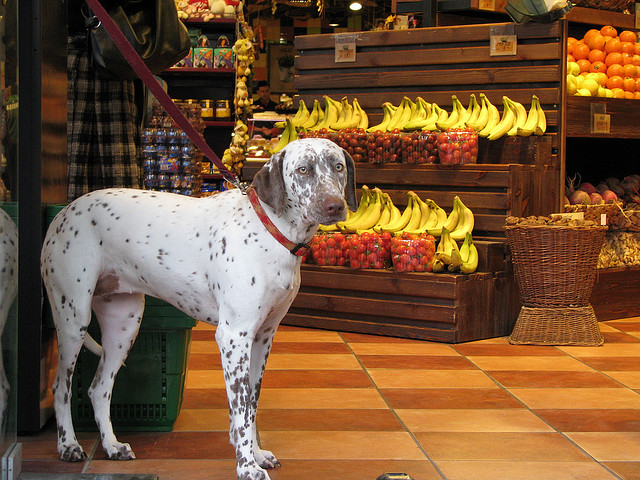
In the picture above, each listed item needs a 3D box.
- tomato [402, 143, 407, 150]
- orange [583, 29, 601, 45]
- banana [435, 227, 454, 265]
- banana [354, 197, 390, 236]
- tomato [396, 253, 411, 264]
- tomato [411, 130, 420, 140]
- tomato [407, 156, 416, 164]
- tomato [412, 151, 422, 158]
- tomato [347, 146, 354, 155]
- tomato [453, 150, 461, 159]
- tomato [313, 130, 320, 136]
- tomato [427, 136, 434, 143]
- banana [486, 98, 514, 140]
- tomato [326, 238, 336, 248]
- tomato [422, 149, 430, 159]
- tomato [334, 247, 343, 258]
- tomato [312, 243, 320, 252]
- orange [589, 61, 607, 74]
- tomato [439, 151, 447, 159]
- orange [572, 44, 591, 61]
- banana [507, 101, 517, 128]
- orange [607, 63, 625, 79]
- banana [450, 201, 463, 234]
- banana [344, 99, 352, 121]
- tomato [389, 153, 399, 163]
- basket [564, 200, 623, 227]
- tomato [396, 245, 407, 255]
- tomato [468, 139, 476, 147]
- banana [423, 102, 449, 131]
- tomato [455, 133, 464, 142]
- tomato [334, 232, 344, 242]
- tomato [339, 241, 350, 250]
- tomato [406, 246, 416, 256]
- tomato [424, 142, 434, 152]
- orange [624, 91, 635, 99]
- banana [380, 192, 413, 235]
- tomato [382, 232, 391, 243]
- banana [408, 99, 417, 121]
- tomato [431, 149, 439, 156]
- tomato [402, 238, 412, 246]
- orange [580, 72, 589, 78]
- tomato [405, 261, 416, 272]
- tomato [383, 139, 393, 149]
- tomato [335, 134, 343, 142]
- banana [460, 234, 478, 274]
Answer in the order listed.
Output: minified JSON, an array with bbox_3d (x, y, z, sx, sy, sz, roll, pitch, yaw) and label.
[{"bbox_3d":[0.674,-0.732,5.559,0.030,0.036,0.021,36,49,29],"label":"tomato"},{"bbox_3d":[2.392,-1.789,6.315,0.141,0.165,0.136,3,14,-5],"label":"orange"},{"bbox_3d":[0.947,0.030,5.088,0.086,0.183,0.273,-16,26,22],"label":"banana"},{"bbox_3d":[0.423,-0.177,5.451,0.174,0.267,0.082,31,-18,28],"label":"banana"},{"bbox_3d":[0.613,0.125,5.068,0.074,0.070,0.073,-1,0,5],"label":"tomato"},{"bbox_3d":[0.746,-0.811,5.477,0.064,0.059,0.050,-5,-6,19],"label":"tomato"},{"bbox_3d":[0.728,-0.628,5.540,0.058,0.044,0.032,-1,27,36],"label":"tomato"},{"bbox_3d":[0.763,-0.666,5.511,0.052,0.047,0.053,1,3,34],"label":"tomato"},{"bbox_3d":[0.261,-0.732,5.775,0.040,0.065,0.068,-1,8,-14],"label":"tomato"},{"bbox_3d":[1.030,-0.640,5.282,0.050,0.055,0.051,3,-1,-25],"label":"tomato"},{"bbox_3d":[-0.015,-0.889,5.892,0.050,0.014,0.050,7,23,14],"label":"tomato"},{"bbox_3d":[0.856,-0.770,5.421,0.048,0.047,0.021,1,8,6],"label":"tomato"},{"bbox_3d":[1.392,-0.923,5.396,0.124,0.313,0.215,8,11,41],"label":"banana"},{"bbox_3d":[0.098,0.014,5.396,0.059,0.068,0.060,-14,-28,40],"label":"tomato"},{"bbox_3d":[0.829,-0.668,5.489,0.058,0.068,0.056,-4,-30,14],"label":"tomato"},{"bbox_3d":[0.154,0.077,5.384,0.064,0.071,0.059,4,-3,-20],"label":"tomato"},{"bbox_3d":[-0.022,0.049,5.433,0.060,0.065,0.028,8,11,44],"label":"tomato"},{"bbox_3d":[2.417,-1.489,6.204,0.113,0.114,0.112,-37,17,-6],"label":"orange"},{"bbox_3d":[0.931,-0.641,5.340,0.027,0.056,0.072,-1,8,-13],"label":"tomato"},{"bbox_3d":[2.287,-1.640,6.245,0.145,0.140,0.140,-1,-18,0],"label":"orange"},{"bbox_3d":[1.487,-0.961,5.447,0.073,0.198,0.048,-17,-15,36],"label":"banana"},{"bbox_3d":[2.566,-1.462,6.123,0.127,0.123,0.141,2,45,4],"label":"orange"},{"bbox_3d":[1.032,-0.175,5.299,0.086,0.235,0.055,2,-5,30],"label":"banana"},{"bbox_3d":[0.254,-1.095,6.062,0.069,0.192,0.048,-1,-4,22],"label":"banana"},{"bbox_3d":[0.596,-0.651,5.622,0.064,0.063,0.062,-10,26,-9],"label":"tomato"},{"bbox_3d":[2.190,-0.203,5.596,0.747,0.205,0.293,-5,10,-38],"label":"basket"},{"bbox_3d":[0.593,0.063,5.073,0.058,0.067,0.057,3,-34,5],"label":"tomato"},{"bbox_3d":[1.146,-0.726,5.305,0.051,0.050,0.061,-23,11,13],"label":"tomato"},{"bbox_3d":[0.931,-0.971,5.632,0.138,0.113,0.384,-22,30,35],"label":"banana"},{"bbox_3d":[1.045,-0.762,5.266,0.064,0.064,0.019,-1,8,-10],"label":"tomato"},{"bbox_3d":[0.155,-0.027,5.385,0.063,0.070,0.062,1,-20,1],"label":"tomato"},{"bbox_3d":[0.194,0.031,5.356,0.059,0.067,0.057,-7,19,-24],"label":"tomato"},{"bbox_3d":[0.660,0.069,5.064,0.059,0.057,0.070,-16,11,10],"label":"tomato"},{"bbox_3d":[0.853,-0.719,5.449,0.062,0.057,0.063,9,-15,9],"label":"tomato"},{"bbox_3d":[2.637,-1.238,6.044,0.073,0.061,0.177,8,10,41],"label":"orange"},{"bbox_3d":[0.607,-0.205,5.544,0.197,0.308,0.086,36,-18,11],"label":"banana"},{"bbox_3d":[0.503,-0.027,5.295,0.061,0.059,0.070,3,41,0],"label":"tomato"},{"bbox_3d":[0.765,-1.053,5.782,0.060,0.166,0.044,-7,-14,39],"label":"banana"},{"bbox_3d":[0.897,-0.675,5.463,0.054,0.048,0.044,0,8,-6],"label":"tomato"},{"bbox_3d":[0.629,0.015,5.075,0.044,0.028,0.053,1,8,28],"label":"tomato"},{"bbox_3d":[2.284,-1.425,6.098,0.076,0.074,0.090,-1,11,21],"label":"orange"},{"bbox_3d":[0.660,0.185,5.089,0.061,0.053,0.059,10,-21,5],"label":"tomato"},{"bbox_3d":[0.544,-0.756,5.593,0.064,0.073,0.063,-1,-1,7],"label":"tomato"},{"bbox_3d":[0.169,-0.830,5.763,0.055,0.049,0.054,13,-16,-5],"label":"tomato"},{"bbox_3d":[1.071,0.102,5.062,0.081,0.194,0.266,-27,24,34],"label":"banana"}]
